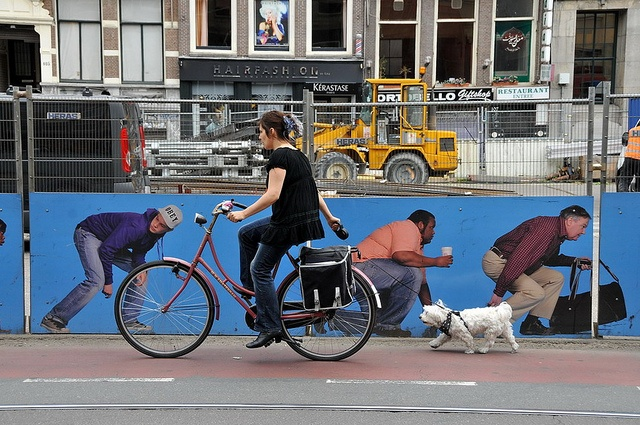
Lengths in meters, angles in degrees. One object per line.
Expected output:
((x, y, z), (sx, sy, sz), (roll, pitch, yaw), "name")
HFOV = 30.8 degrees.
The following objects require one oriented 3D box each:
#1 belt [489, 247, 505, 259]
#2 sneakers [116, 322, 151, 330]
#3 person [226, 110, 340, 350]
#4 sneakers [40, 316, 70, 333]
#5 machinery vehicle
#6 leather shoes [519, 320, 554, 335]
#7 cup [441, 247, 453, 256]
((3.060, 0.680, 20.163), (0.077, 0.224, 0.169), (-45, 21, -7), "belt")
((-3.072, 1.896, 19.453), (0.464, 0.173, 0.151), (0, 4, -14), "sneakers")
((-0.696, 0.283, 19.079), (1.467, 3.872, 0.535), (-2, 8, -2), "person")
((-4.624, 1.954, 20.206), (0.592, 0.237, 0.191), (9, 8, -8), "sneakers")
((1.044, -1.504, 21.823), (3.634, 1.798, 1.291), (3, 4, 21), "machinery vehicle")
((3.716, 2.008, 20.347), (0.676, 0.286, 0.217), (-3, 2, 2), "leather shoes")
((2.187, 0.673, 20.179), (0.155, 0.108, 0.155), (-2, -2, 0), "cup")
